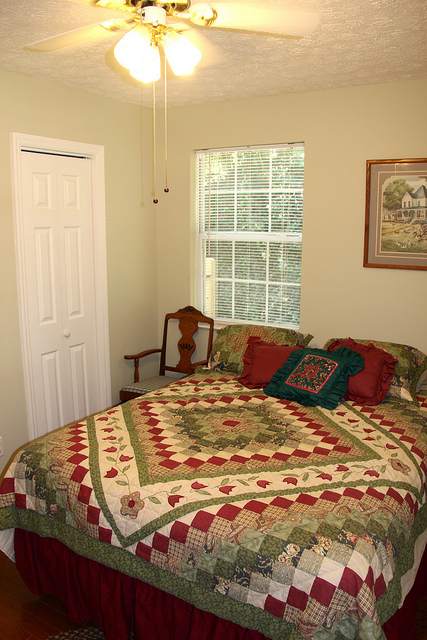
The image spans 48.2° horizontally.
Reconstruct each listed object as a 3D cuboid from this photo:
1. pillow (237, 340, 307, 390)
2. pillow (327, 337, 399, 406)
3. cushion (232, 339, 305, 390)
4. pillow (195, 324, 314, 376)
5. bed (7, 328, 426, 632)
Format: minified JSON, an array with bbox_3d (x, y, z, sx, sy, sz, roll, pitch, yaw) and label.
[{"bbox_3d":[0.359,0.319,3.238,0.334,0.334,0.101,-5,-40,45],"label":"pillow"},{"bbox_3d":[0.964,0.333,2.906,0.345,0.343,0.097,17,-16,40],"label":"pillow"},{"bbox_3d":[0.338,0.297,3.228,0.103,0.339,0.338,40,-28,-29],"label":"cushion"},{"bbox_3d":[0.204,0.185,3.574,0.511,0.152,0.527,2,22,30],"label":"pillow"},{"bbox_3d":[0.236,0.664,2.668,1.789,0.831,2.244,4,11,28],"label":"bed"}]
